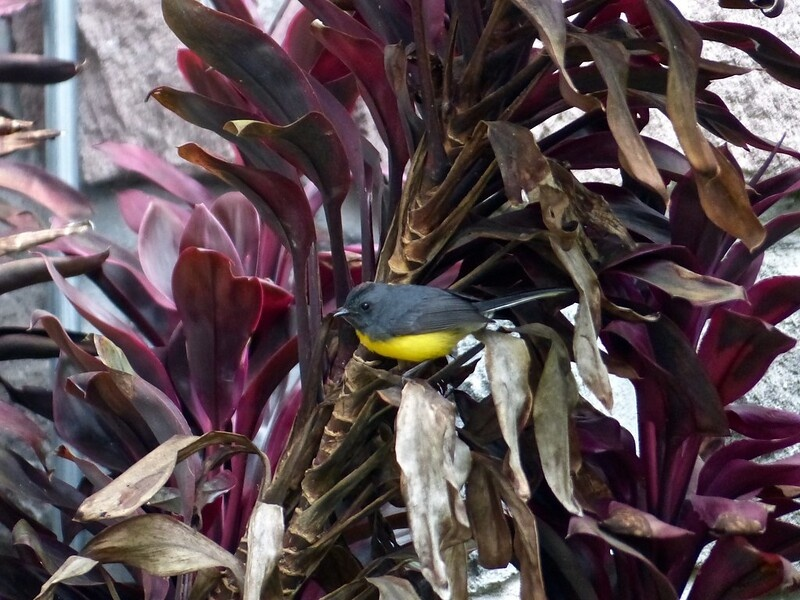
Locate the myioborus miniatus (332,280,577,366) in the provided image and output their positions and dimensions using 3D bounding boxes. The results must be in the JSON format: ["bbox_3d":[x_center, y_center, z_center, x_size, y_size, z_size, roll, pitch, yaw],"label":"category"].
[{"bbox_3d":[0.066,0.030,1.547,0.263,0.113,0.067,-3,20,-8],"label":"myioborus miniatus"}]
